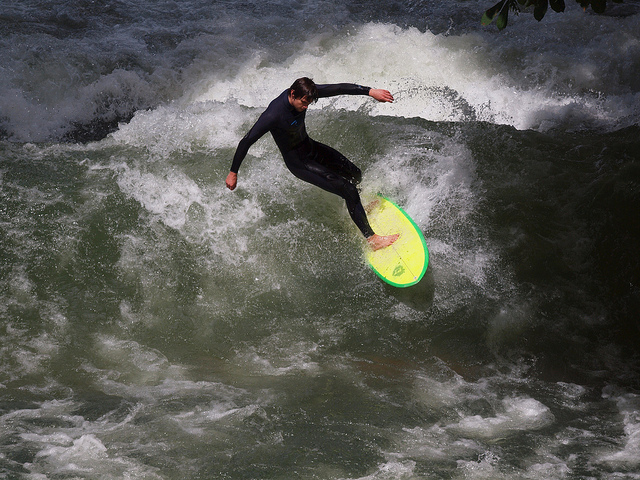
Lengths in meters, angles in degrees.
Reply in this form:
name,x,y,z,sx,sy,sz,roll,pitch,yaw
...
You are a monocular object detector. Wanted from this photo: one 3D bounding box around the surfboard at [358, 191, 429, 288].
name,x,y,z,sx,sy,sz,roll,pitch,yaw
surfboard,1.297,0.058,15.006,1.092,0.343,2.953,-37,30,7
